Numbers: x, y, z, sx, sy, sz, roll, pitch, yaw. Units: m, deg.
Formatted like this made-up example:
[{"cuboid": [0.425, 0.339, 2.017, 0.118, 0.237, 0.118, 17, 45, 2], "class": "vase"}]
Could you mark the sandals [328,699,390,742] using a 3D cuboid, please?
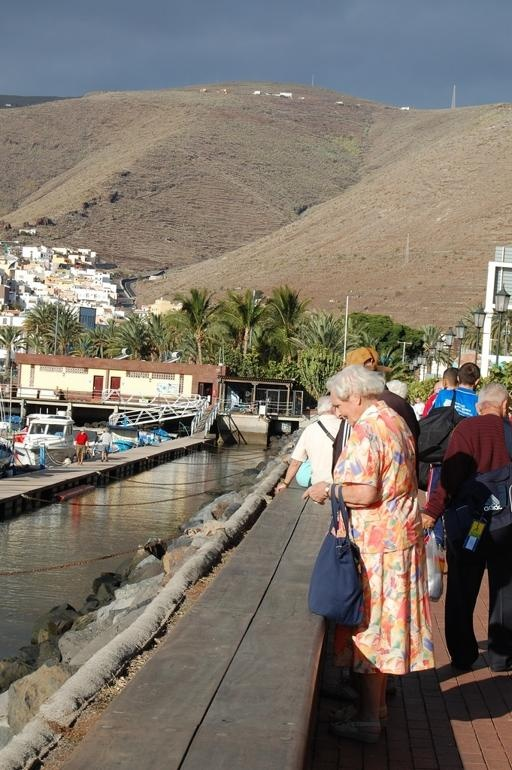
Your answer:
[{"cuboid": [0.473, 1.535, 2.897, 0.218, 0.079, 0.172, 6, 0, 12], "class": "sandals"}]

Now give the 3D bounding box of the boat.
[{"cuboid": [-11.038, 3.151, 34.127, 2.386, 2.778, 7.797, 3, -2, 0], "class": "boat"}]

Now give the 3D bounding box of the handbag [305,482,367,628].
[{"cuboid": [0.340, 0.774, 2.664, 0.233, 0.645, 0.280, 0, 2, 8], "class": "handbag"}]

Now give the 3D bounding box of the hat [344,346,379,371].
[{"cuboid": [0.697, -0.173, 4.112, 0.201, 0.160, 0.305, 0, 7, 20], "class": "hat"}]
